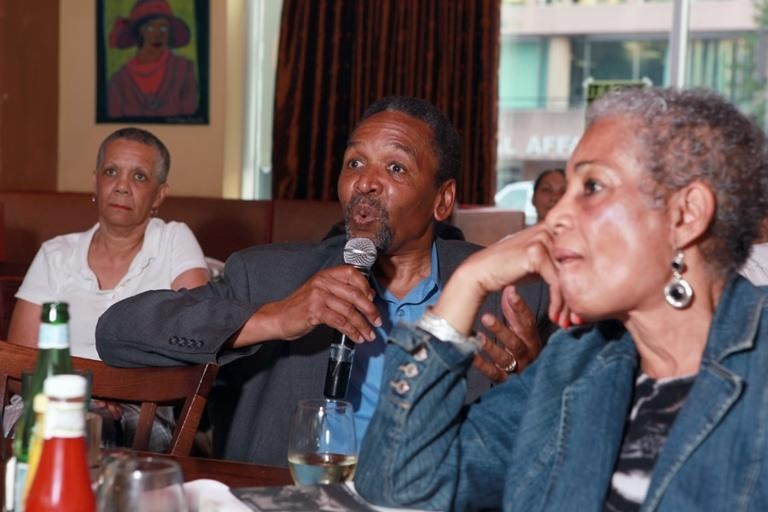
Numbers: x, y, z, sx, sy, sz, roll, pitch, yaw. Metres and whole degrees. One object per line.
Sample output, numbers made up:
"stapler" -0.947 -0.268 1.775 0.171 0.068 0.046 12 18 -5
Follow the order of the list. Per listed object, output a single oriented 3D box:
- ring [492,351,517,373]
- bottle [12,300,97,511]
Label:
"ring" 0.300 0.267 1.756 0.044 0.056 0.030 -40 -6 -5
"bottle" -0.615 0.251 1.271 0.101 0.332 0.375 1 1 -28
